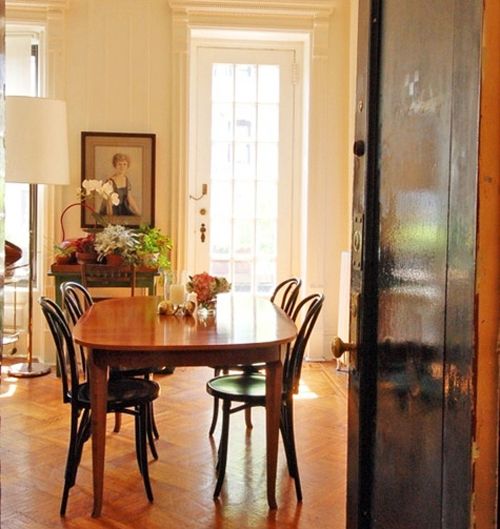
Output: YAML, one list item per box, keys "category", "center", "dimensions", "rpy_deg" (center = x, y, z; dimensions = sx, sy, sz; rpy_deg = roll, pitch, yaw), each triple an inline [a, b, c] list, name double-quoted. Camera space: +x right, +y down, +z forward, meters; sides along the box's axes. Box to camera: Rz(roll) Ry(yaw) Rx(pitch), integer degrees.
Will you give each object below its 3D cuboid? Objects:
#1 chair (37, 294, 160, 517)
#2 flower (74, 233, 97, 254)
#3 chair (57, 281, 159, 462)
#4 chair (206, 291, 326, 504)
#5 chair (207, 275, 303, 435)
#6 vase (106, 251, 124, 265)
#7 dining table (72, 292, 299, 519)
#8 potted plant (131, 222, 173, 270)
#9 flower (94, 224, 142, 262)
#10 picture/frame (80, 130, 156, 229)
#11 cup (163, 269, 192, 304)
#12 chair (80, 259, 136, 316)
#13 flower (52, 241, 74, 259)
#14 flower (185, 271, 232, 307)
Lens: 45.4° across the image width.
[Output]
- category: "chair"
  center: [-0.634, 0.580, 2.597]
  dimensions: [0.397, 0.883, 0.339]
  rpy_deg: [-4, -1, -18]
- category: "flower"
  center: [-1.230, -0.157, 4.475]
  dimensions: [0.120, 0.139, 0.137]
  rpy_deg: [2, 3, 24]
- category: "chair"
  center: [-0.738, 0.504, 3.098]
  dimensions: [0.438, 0.990, 0.418]
  rpy_deg: [-3, 1, -21]
- category: "chair"
  center: [0.049, 0.571, 2.692]
  dimensions: [0.414, 0.931, 0.412]
  rpy_deg: [2, -3, 1]
- category: "chair"
  center: [0.055, 0.604, 3.477]
  dimensions: [0.498, 1.224, 0.457]
  rpy_deg: [2, -10, 0]
- category: "vase"
  center: [-0.972, -0.042, 4.295]
  dimensions: [0.081, 0.075, 0.095]
  rpy_deg: [0, -3, -9]
- category: "dining table"
  center: [-0.406, 0.379, 3.278]
  dimensions: [0.945, 0.999, 1.933]
  rpy_deg: [-2, 26, -12]
- category: "potted plant"
  center: [-0.780, -0.134, 4.485]
  dimensions: [0.208, 0.268, 0.237]
  rpy_deg: [21, 14, 36]
- category: "flower"
  center: [-0.975, -0.163, 4.355]
  dimensions: [0.250, 0.224, 0.267]
  rpy_deg: [-1, 4, 16]
- category: "picture/frame"
  center: [-1.084, -0.658, 4.848]
  dimensions: [0.573, 0.922, 0.040]
  rpy_deg: [0, -26, -12]
- category: "cup"
  center: [-0.422, 0.127, 3.401]
  dimensions: [0.167, 0.242, 0.185]
  rpy_deg: [0, 4, -11]
- category: "chair"
  center: [-0.991, 0.150, 4.304]
  dimensions: [0.257, 0.559, 0.309]
  rpy_deg: [0, -6, -3]
- category: "flower"
  center: [-1.375, -0.106, 4.418]
  dimensions: [0.095, 0.095, 0.123]
  rpy_deg: [0, 7, -13]
- category: "flower"
  center: [-0.247, 0.142, 2.940]
  dimensions: [0.148, 0.155, 0.142]
  rpy_deg: [-24, 22, -38]
